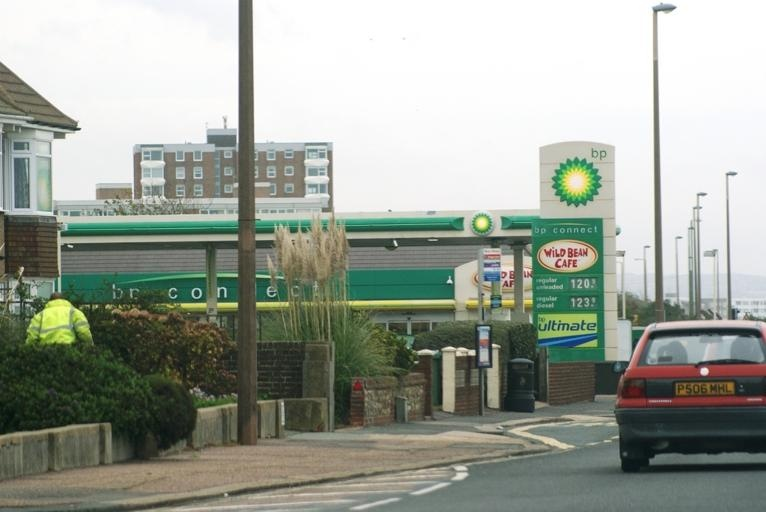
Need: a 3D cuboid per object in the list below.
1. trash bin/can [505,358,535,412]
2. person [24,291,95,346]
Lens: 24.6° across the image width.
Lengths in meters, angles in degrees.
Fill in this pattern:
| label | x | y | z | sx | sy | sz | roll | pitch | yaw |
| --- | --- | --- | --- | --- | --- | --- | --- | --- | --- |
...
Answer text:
| label | x | y | z | sx | sy | sz | roll | pitch | yaw |
| --- | --- | --- | --- | --- | --- | --- | --- | --- | --- |
| trash bin/can | 3.920 | 3.868 | 51.074 | 0.870 | 1.565 | 0.707 | -1 | -3 | -2 |
| person | -6.638 | 1.323 | 36.060 | 1.258 | 1.023 | 0.592 | -1 | -3 | -12 |
